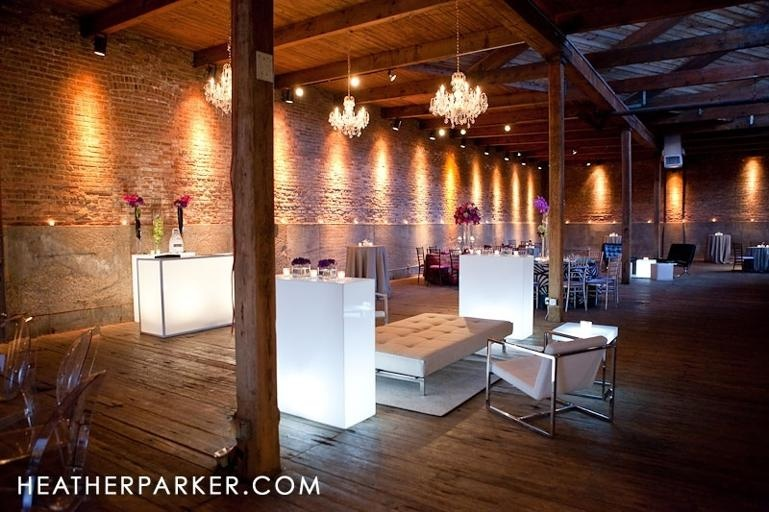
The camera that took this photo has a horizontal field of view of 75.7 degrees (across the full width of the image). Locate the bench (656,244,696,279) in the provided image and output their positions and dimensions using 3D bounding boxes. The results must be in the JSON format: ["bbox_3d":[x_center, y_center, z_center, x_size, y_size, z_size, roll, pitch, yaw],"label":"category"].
[{"bbox_3d":[9.473,0.165,15.587,0.778,0.737,0.593,-12,2,35],"label":"bench"}]

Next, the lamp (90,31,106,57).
[{"bbox_3d":[-4.819,-3.540,8.371,0.236,0.355,0.180,-7,15,-29],"label":"lamp"}]

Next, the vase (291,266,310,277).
[{"bbox_3d":[-0.950,0.180,5.587,0.146,0.077,0.142,0,-2,32],"label":"vase"}]

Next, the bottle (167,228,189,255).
[{"bbox_3d":[-3.611,-0.248,8.560,0.203,0.420,0.865,-5,12,-19],"label":"bottle"}]

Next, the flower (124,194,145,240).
[{"bbox_3d":[-4.378,-0.653,8.698,0.314,0.832,0.654,-7,15,-26],"label":"flower"}]

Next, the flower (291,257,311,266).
[{"bbox_3d":[-0.966,0.076,5.709,0.227,0.118,0.227,-1,1,5],"label":"flower"}]

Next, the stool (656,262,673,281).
[{"bbox_3d":[7.981,0.446,14.131,0.422,0.483,0.270,6,14,23],"label":"stool"}]

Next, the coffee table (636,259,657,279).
[{"bbox_3d":[7.752,0.419,14.791,0.663,0.643,0.613,0,-1,1],"label":"coffee table"}]

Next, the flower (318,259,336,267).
[{"bbox_3d":[-0.717,0.103,6.127,0.151,0.076,0.153,0,-8,-33],"label":"flower"}]

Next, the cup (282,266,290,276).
[{"bbox_3d":[-1.089,0.167,5.530,0.096,0.093,0.089,0,-3,0],"label":"cup"}]

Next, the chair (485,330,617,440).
[{"bbox_3d":[1.758,1.284,5.291,0.940,0.785,1.000,0,-2,-32],"label":"chair"}]

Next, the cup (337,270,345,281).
[{"bbox_3d":[-0.482,0.221,5.333,0.115,0.113,0.108,1,-3,0],"label":"cup"}]

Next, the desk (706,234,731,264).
[{"bbox_3d":[12.714,-0.248,18.841,0.759,1.074,0.582,7,15,26],"label":"desk"}]

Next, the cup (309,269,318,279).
[{"bbox_3d":[-0.793,0.210,5.500,0.109,0.107,0.107,1,-3,0],"label":"cup"}]

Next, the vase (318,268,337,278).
[{"bbox_3d":[-0.624,0.205,5.407,0.143,0.075,0.133,1,-3,9],"label":"vase"}]
